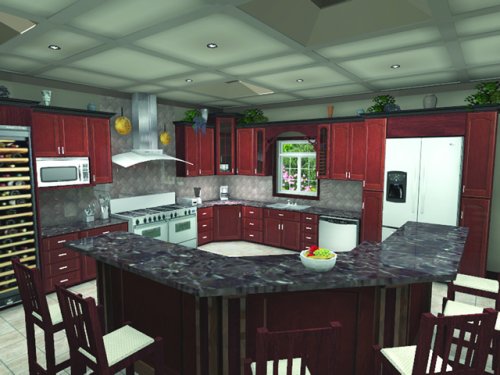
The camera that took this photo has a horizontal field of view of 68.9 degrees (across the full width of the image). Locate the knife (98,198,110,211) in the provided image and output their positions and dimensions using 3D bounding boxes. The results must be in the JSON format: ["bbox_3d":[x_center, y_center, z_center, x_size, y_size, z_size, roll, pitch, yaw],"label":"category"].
[{"bbox_3d":[-2.448,0.298,6.173,0.180,0.261,0.135,-8,17,-27],"label":"knife"}]

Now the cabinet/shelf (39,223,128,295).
[{"bbox_3d":[-2.138,0.925,4.577,0.660,0.681,1.242,3,5,36],"label":"cabinet/shelf"}]

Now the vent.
[{"bbox_3d":[-1.795,-1.050,6.604,0.944,1.303,1.733,0,2,40],"label":"vent"}]

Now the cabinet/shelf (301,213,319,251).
[{"bbox_3d":[1.060,0.795,6.635,0.387,0.667,0.169,7,18,23],"label":"cabinet/shelf"}]

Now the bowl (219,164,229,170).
[{"bbox_3d":[-0.559,-0.440,7.687,0.153,0.080,0.139,-1,-2,24],"label":"bowl"}]

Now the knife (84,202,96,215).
[{"bbox_3d":[-2.650,0.339,6.040,0.244,0.210,0.180,-3,-3,36],"label":"knife"}]

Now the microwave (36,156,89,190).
[{"bbox_3d":[-2.724,-0.244,5.352,0.502,0.384,0.755,1,1,34],"label":"microwave"}]

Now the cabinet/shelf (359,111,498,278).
[{"bbox_3d":[2.969,0.037,5.459,0.446,2.358,1.367,-14,21,-39],"label":"cabinet/shelf"}]

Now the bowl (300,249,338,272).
[{"bbox_3d":[0.624,0.668,3.381,0.321,0.172,0.219,2,14,9],"label":"bowl"}]

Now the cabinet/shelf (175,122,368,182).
[{"bbox_3d":[0.355,-0.747,7.037,3.521,1.174,1.016,4,15,19],"label":"cabinet/shelf"}]
